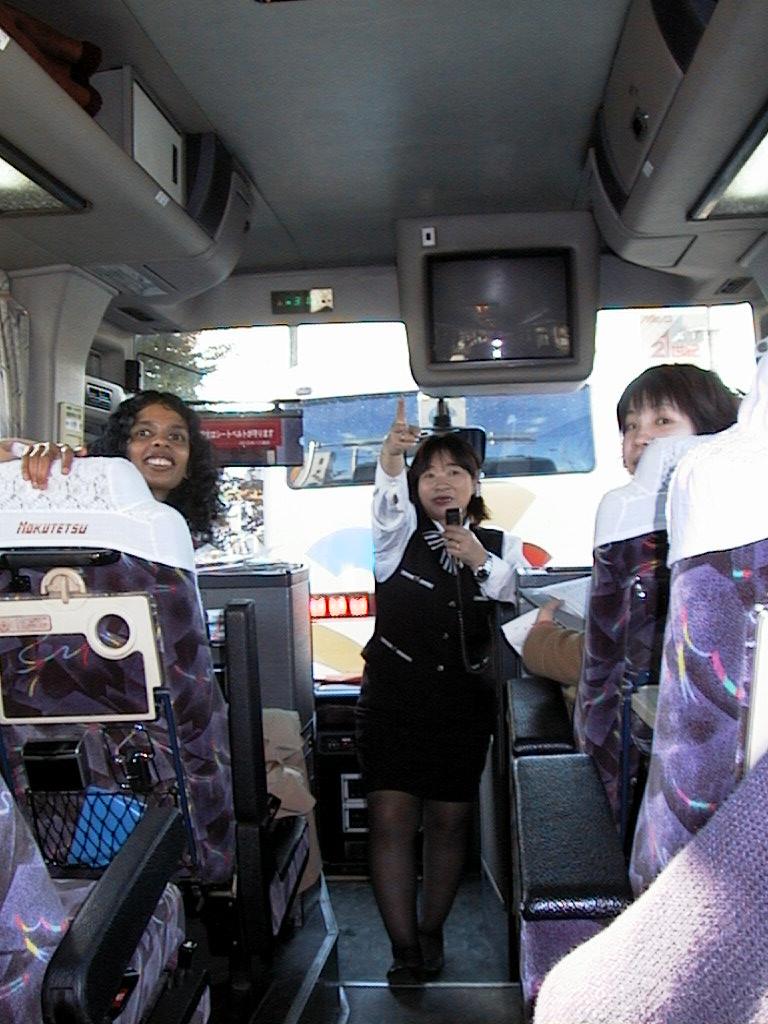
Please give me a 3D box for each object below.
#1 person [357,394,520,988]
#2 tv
[{"bbox_3d":[0.154,0.556,2.740,0.517,1.859,0.980,1,7,25],"label":"person"},{"bbox_3d":[0.469,-0.843,3.151,0.530,0.346,0.024,-1,2,2],"label":"tv"}]
